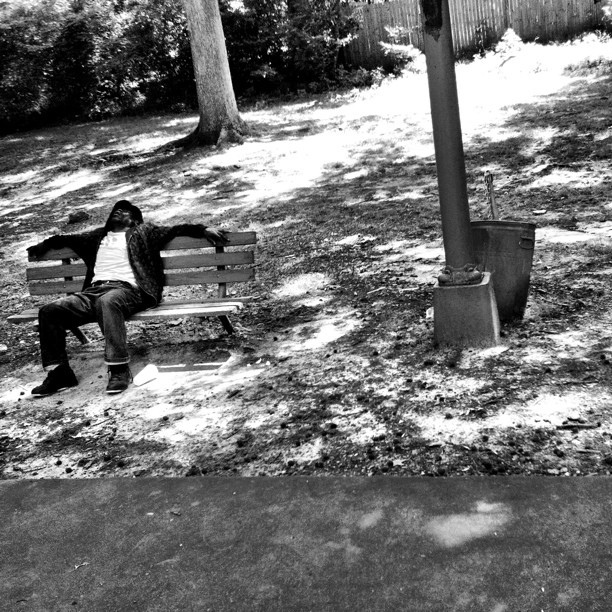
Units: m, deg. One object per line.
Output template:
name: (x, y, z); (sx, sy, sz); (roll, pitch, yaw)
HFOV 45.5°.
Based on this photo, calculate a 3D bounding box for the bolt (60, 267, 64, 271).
bolt: (-2.256, -0.342, 6.757); (0.048, 0.035, 0.020); (0, 1, 2)

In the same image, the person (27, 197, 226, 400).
person: (-1.582, -0.144, 5.982); (1.788, 1.682, 1.195); (-3, -2, -2)

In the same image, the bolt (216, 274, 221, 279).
bolt: (-0.759, -0.252, 6.247); (0.040, 0.030, 0.010); (-11, -4, -3)

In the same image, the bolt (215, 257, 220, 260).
bolt: (-0.766, -0.408, 6.255); (0.028, 0.009, 0.022); (7, 25, 27)

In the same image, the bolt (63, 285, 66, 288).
bolt: (-2.211, -0.180, 6.671); (0.023, 0.018, 0.010); (1, 2, -1)

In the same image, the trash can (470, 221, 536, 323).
trash can: (1.359, -0.279, 5.125); (0.396, 0.716, 0.501); (-5, 15, -19)

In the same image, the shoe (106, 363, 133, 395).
shoe: (-1.405, 0.518, 5.455); (0.158, 0.197, 0.325); (-9, 17, 1)

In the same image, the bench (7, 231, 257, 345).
bench: (-1.512, -0.158, 6.532); (2.337, 0.863, 1.526); (-6, 18, 17)
